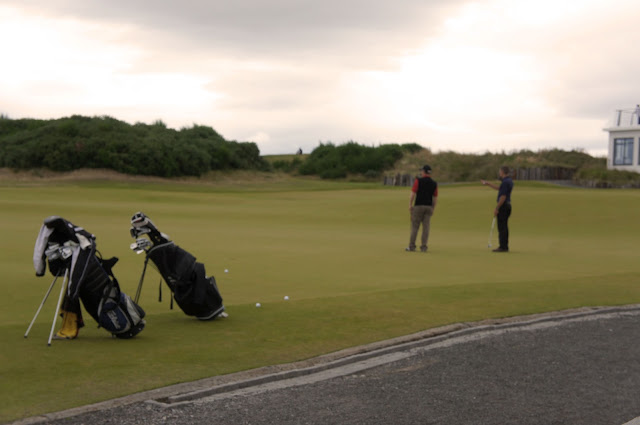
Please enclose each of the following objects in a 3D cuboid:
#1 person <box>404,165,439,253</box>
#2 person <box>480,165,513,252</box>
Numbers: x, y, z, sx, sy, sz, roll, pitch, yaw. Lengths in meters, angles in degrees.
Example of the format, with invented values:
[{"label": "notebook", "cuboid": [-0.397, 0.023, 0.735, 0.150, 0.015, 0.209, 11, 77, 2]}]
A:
[{"label": "person", "cuboid": [3.058, -0.127, 20.718, 0.769, 2.503, 0.608, 7, -4, -5]}, {"label": "person", "cuboid": [5.288, -0.149, 21.053, 1.131, 3.305, 1.120, 0, 0, 16]}]
